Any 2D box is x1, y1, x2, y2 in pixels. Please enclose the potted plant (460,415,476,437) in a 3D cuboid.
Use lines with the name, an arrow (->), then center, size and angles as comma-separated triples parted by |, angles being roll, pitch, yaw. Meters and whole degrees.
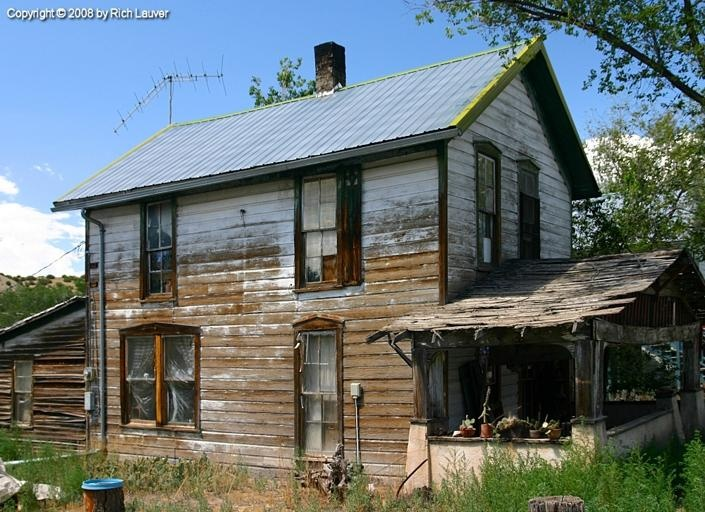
potted plant -> 2.345, 3.549, 18.109 | 0.285, 0.385, 0.410 | -2, -14, 2

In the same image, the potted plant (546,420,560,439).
potted plant -> 3.990, 3.460, 17.531 | 0.296, 0.302, 0.323 | 0, -18, -3
